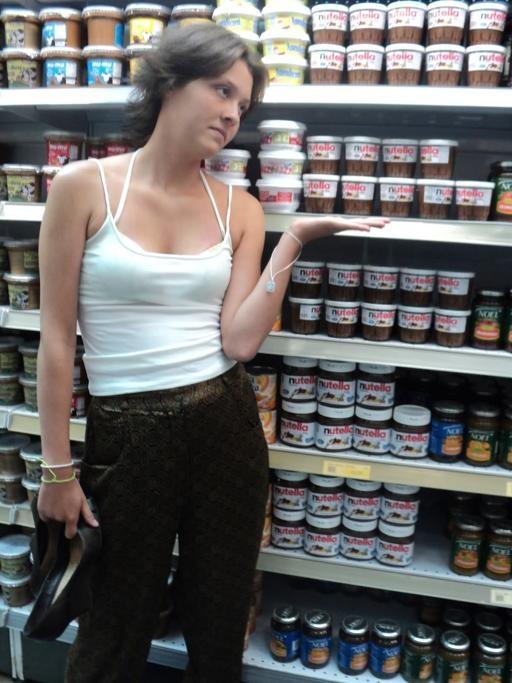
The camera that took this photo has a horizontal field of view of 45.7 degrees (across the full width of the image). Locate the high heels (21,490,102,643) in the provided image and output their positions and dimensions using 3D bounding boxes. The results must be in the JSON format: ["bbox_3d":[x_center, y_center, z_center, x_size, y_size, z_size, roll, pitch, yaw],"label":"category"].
[{"bbox_3d":[-0.402,0.464,1.176,0.197,0.307,0.123,5,15,20],"label":"high heels"}]
